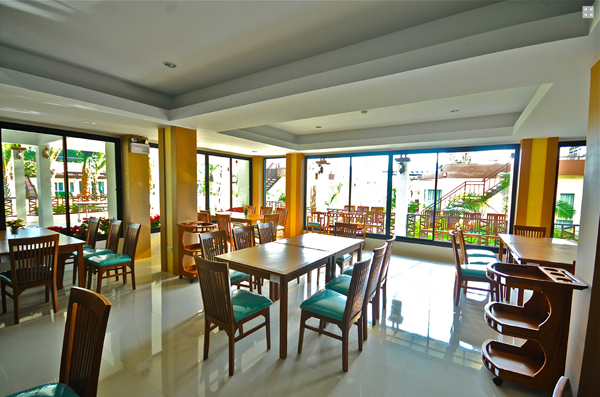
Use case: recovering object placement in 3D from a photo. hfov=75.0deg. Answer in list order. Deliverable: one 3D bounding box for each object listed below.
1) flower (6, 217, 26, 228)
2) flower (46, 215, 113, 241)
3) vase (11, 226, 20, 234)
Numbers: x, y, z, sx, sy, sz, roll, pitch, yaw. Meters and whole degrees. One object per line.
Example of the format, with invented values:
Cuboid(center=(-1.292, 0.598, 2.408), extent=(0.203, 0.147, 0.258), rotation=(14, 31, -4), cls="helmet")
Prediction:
Cuboid(center=(-4.718, 0.398, 6.486), extent=(0.267, 0.116, 0.263), rotation=(2, 1, 22), cls="flower")
Cuboid(center=(-4.279, 0.573, 7.646), extent=(0.955, 0.296, 0.667), rotation=(4, 16, -20), cls="flower")
Cuboid(center=(-4.578, 0.507, 6.264), extent=(0.117, 0.125, 0.119), rotation=(0, 3, 41), cls="vase")
